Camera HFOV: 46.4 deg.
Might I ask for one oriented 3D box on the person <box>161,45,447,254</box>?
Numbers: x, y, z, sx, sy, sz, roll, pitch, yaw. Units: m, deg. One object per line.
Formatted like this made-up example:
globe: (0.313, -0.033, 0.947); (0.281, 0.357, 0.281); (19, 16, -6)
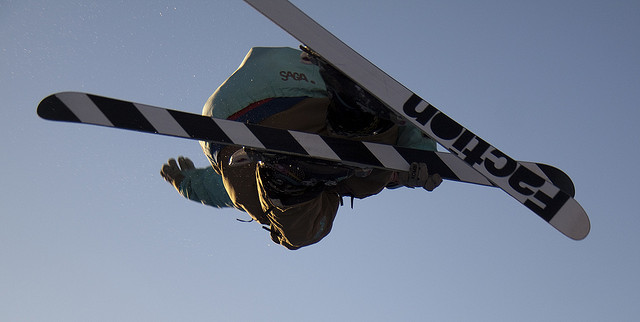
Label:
person: (-0.257, 0.108, 5.463); (1.773, 1.092, 1.129); (-25, -41, -3)
